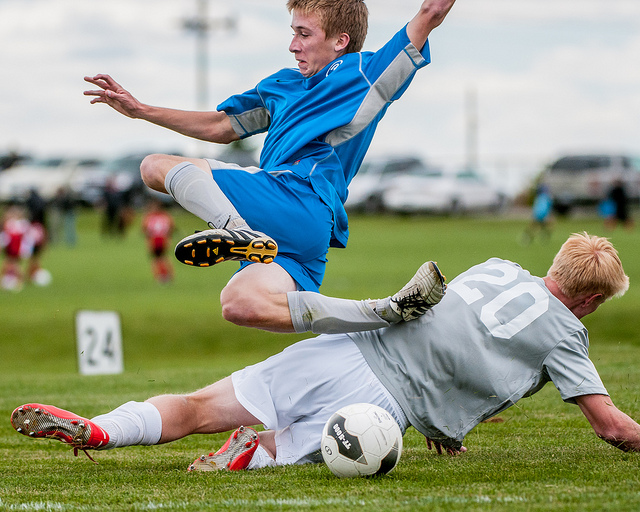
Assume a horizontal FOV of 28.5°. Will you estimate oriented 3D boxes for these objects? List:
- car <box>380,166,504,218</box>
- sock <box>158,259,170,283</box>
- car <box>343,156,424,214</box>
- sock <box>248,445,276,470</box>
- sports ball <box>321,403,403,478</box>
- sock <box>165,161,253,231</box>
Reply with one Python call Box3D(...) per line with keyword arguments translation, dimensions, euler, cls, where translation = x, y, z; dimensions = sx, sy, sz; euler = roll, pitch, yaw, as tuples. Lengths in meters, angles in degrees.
Box3D(translation=(2.509, -1.304, 22.531), dimensions=(1.315, 0.845, 2.635), euler=(-27, 15, -23), cls="car")
Box3D(translation=(-2.212, 0.223, 17.829), dimensions=(0.150, 0.279, 0.103), euler=(-4, 32, -6), cls="sock")
Box3D(translation=(1.112, -1.331, 25.983), dimensions=(2.143, 0.985, 1.236), euler=(-8, 6, -4), cls="car")
Box3D(translation=(-0.342, 1.135, 7.092), dimensions=(0.161, 0.100, 0.082), euler=(-8, 12, -29), cls="sock")
Box3D(translation=(0.264, 0.994, 7.021), dimensions=(0.410, 0.381, 0.438), euler=(-30, -8, -4), cls="sports ball")
Box3D(translation=(-0.665, -0.341, 7.300), dimensions=(0.624, 0.241, 0.237), euler=(32, -21, 10), cls="sock")
